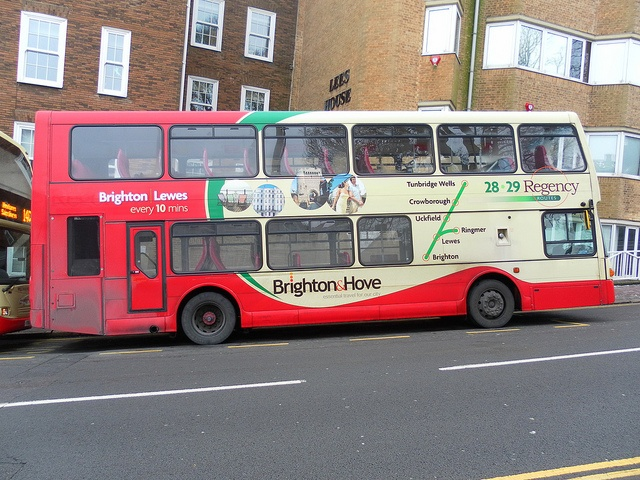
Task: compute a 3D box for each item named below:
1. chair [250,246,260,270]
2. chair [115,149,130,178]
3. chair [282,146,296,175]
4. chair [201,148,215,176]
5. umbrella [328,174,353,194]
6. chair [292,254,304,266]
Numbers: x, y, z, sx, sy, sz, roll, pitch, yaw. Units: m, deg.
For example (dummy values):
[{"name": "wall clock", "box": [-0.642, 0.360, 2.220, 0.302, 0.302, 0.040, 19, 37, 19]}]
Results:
[{"name": "chair", "box": [-1.427, 0.403, 12.688, 0.204, 0.476, 0.111, -3, 8, -12]}, {"name": "chair", "box": [-4.313, -1.670, 12.455, 0.250, 0.610, 0.218, -4, 9, -18]}, {"name": "chair", "box": [-0.715, -1.756, 12.782, 0.264, 0.627, 0.144, 6, 11, 40]}, {"name": "chair", "box": [-2.499, -1.699, 12.618, 0.152, 0.605, 0.266, -8, 11, -40]}, {"name": "umbrella", "box": [0.403, -1.286, 12.880, 0.809, 0.210, 0.215, -26, 24, -31]}, {"name": "chair", "box": [-0.503, 0.422, 12.852, 0.212, 0.407, 0.301, -1, 2, -13]}]
